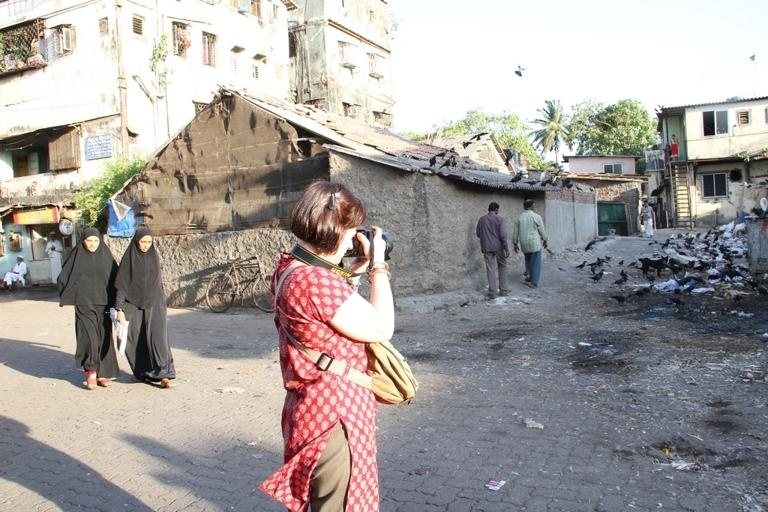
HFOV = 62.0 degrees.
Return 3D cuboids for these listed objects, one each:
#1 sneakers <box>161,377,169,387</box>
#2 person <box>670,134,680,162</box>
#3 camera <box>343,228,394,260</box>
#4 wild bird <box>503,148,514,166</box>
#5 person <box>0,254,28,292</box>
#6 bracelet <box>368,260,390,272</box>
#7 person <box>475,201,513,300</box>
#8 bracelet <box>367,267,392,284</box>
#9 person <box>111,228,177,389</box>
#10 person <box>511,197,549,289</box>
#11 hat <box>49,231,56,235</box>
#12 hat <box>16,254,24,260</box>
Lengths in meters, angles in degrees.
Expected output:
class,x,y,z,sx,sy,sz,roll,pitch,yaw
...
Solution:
class,x,y,z,sx,sy,sz,roll,pitch,yaw
sneakers,-3.195,1.847,9.334,0.104,0.133,0.061,7,4,3
person,15.834,-5.893,34.673,0.484,1.247,1.161,4,14,25
camera,-0.130,-0.116,5.454,0.396,0.223,0.191,-7,21,-19
wild bird,6.269,-5.008,31.980,0.506,0.655,1.633,5,26,13
person,-14.942,0.653,25.792,0.855,1.186,1.207,-7,14,-20
bracelet,-0.058,0.085,5.347,0.119,0.058,0.126,3,-5,-25
person,2.561,-0.168,14.864,0.688,2.093,1.190,-2,13,1
bracelet,-0.042,0.163,5.472,0.258,0.101,0.258,0,-12,3
person,-3.548,0.718,9.307,0.662,2.155,0.783,-8,14,-23
person,3.664,-0.223,15.695,0.619,1.870,0.820,-6,13,-15
hat,-14.264,-0.988,27.487,0.184,0.171,0.185,-1,-5,-2
hat,-15.269,0.030,26.819,0.200,0.242,0.269,-4,-10,41
